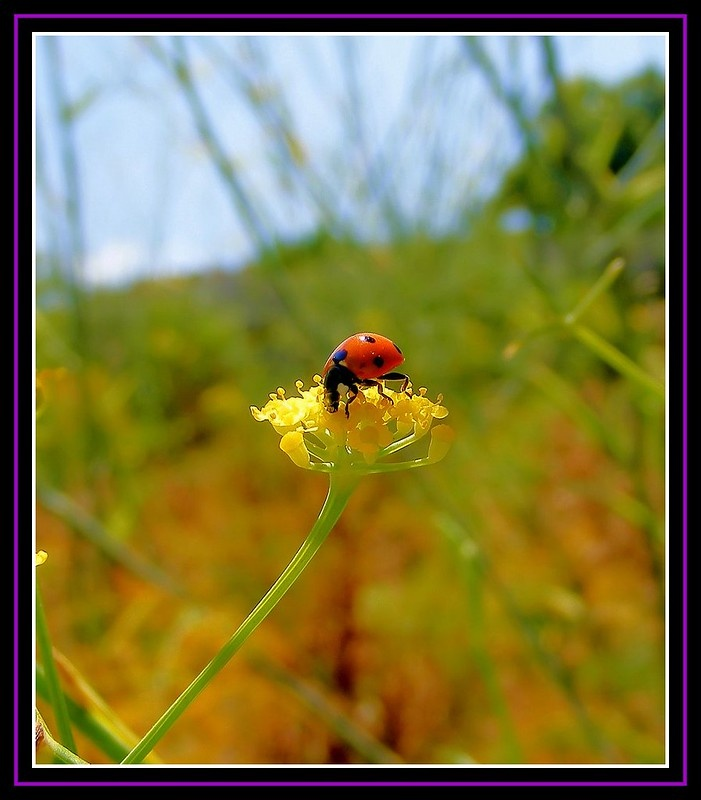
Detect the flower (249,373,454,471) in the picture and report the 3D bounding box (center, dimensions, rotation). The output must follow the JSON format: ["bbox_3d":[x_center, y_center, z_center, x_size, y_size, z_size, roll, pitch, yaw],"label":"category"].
[{"bbox_3d":[0.002,0.016,0.565,0.090,0.084,0.043,3,91,6],"label":"flower"}]

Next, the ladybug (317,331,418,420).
[{"bbox_3d":[0.007,-0.024,0.600,0.083,0.072,0.054,-12,95,-39],"label":"ladybug"}]
